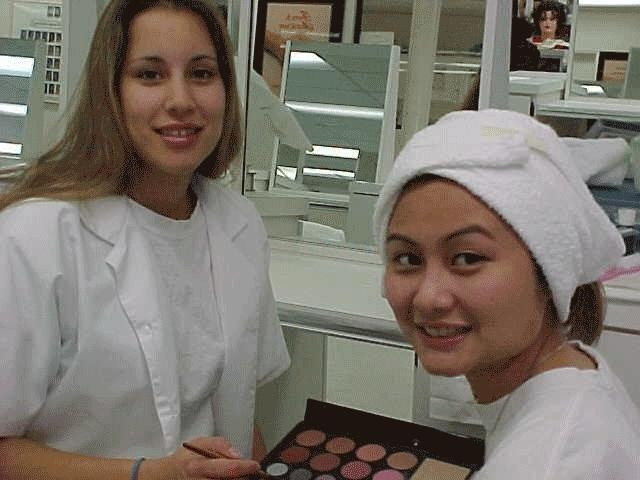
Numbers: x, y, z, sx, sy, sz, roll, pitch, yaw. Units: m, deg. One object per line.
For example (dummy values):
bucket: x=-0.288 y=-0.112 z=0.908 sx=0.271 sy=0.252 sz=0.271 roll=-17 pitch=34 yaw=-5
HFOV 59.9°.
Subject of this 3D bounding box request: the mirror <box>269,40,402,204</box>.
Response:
mirror: x=0.042 y=-0.269 z=1.211 sx=0.325 sy=0.433 sz=0.138 roll=6 pitch=8 yaw=16
